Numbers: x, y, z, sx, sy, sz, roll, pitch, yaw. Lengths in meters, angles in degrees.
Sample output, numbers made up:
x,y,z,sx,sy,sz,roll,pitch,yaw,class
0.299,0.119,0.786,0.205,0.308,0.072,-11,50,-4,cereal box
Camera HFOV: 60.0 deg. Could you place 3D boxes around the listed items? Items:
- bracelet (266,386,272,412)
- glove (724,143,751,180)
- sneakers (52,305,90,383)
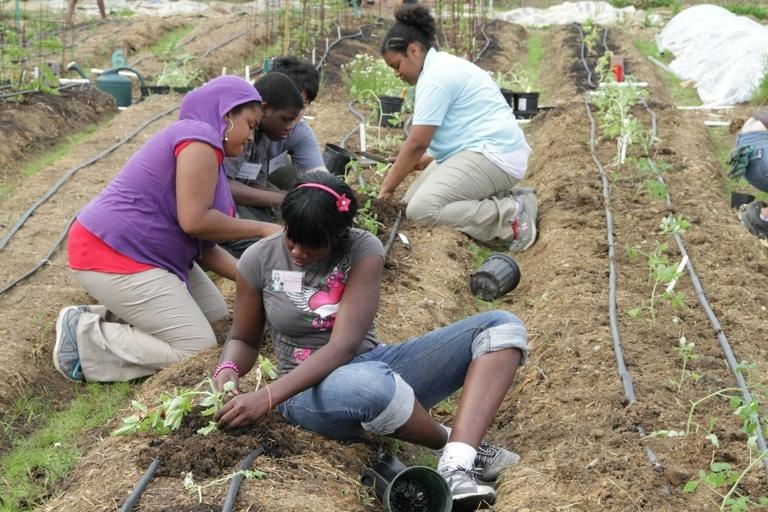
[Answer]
x,y,z,sx,sy,sz,roll,pitch,yaw,class
-0.612,0.749,3.531,0.029,0.128,0.077,-4,29,-13,bracelet
3.282,-0.863,6.130,0.215,0.124,0.279,-27,25,49,glove
-2.130,0.612,4.536,0.242,0.516,0.189,4,9,6,sneakers
